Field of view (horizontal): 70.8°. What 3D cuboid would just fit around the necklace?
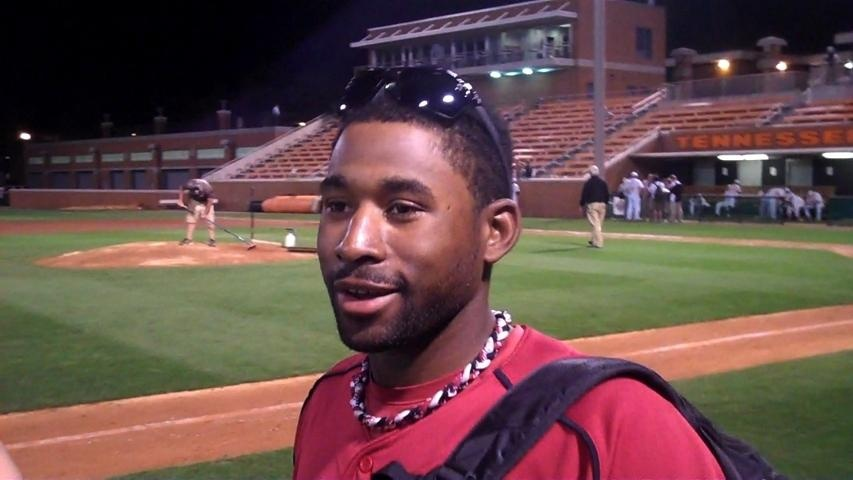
[{"bbox_3d":[0.079,0.662,3.075,0.737,0.130,0.622,-47,27,-25],"label":"necklace"}]

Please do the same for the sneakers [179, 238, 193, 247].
[{"bbox_3d":[-7.215,0.068,17.966,0.225,0.197,0.458,-1,4,-29],"label":"sneakers"}]
